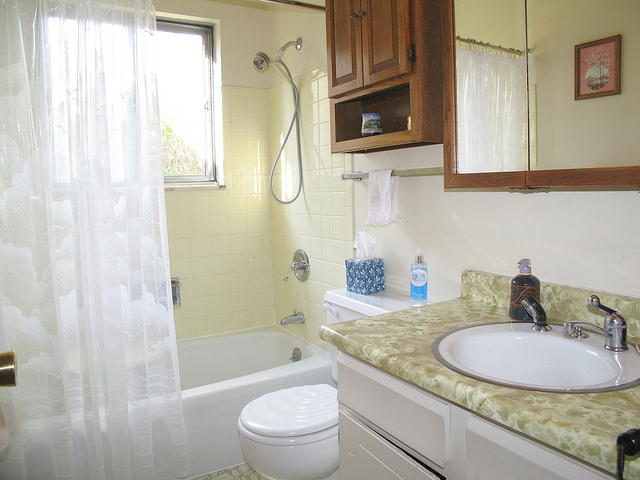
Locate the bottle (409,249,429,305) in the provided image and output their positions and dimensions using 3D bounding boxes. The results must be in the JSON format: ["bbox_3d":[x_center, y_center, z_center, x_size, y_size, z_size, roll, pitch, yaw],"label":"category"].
[{"bbox_3d":[0.445,0.166,2.035,0.071,0.259,0.189,0,6,16],"label":"bottle"}]

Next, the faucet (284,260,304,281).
[{"bbox_3d":[-0.163,0.201,3.011,0.065,0.067,0.233,-3,20,32],"label":"faucet"}]

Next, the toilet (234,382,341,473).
[{"bbox_3d":[-0.134,0.886,2.107,0.453,0.276,0.391,-2,6,-5],"label":"toilet"}]

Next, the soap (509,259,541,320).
[{"bbox_3d":[0.732,0.177,1.616,0.104,0.208,0.112,3,1,-8],"label":"soap"}]

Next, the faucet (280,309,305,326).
[{"bbox_3d":[-0.187,0.507,3.027,0.134,0.080,0.077,-6,13,-35],"label":"faucet"}]
